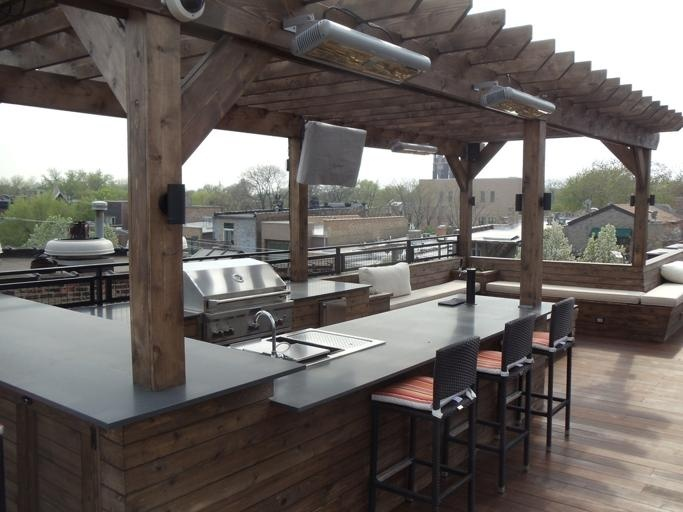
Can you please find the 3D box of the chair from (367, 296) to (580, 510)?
[{"bbox_3d":[1.049,1.086,4.071,0.558,1.319,2.134,10,10,43],"label":"chair"}]

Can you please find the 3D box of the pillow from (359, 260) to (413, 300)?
[{"bbox_3d":[0.711,0.379,8.443,0.483,0.469,0.994,10,11,41],"label":"pillow"}]

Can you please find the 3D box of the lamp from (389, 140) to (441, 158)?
[{"bbox_3d":[1.178,-1.727,8.589,0.377,0.213,1.342,7,9,26],"label":"lamp"}]

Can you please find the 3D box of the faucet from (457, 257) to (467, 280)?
[{"bbox_3d":[2.282,0.231,10.142,0.147,0.374,0.693,4,8,12],"label":"faucet"}]

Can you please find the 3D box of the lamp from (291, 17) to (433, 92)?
[{"bbox_3d":[0.139,-1.280,3.443,0.883,0.177,0.360,-3,11,-39],"label":"lamp"}]
